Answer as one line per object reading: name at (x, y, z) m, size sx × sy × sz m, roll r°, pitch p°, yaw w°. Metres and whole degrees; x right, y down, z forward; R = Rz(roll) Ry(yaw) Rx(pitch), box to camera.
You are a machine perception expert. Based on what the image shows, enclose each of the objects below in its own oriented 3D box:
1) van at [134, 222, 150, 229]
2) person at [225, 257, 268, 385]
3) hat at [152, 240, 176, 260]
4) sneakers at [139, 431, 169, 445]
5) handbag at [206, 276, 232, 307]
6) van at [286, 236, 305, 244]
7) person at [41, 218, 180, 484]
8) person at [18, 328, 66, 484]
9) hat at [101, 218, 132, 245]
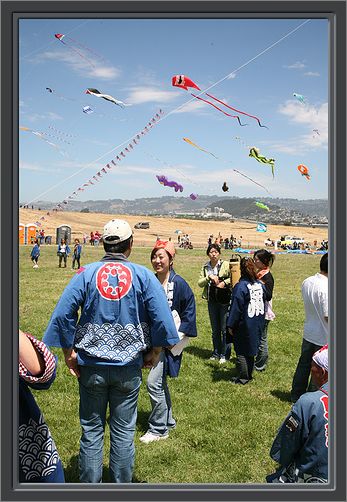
van at (-5.201, -4.161, 70.706) m, size 1.922 × 0.837 × 1.247 m, roll 3°, pitch 1°, yaw 25°
person at (0.986, 1.005, 5.885) m, size 0.518 × 1.812 × 0.555 m, roll -1°, pitch 1°, yaw 11°
hat at (-0.094, -0.025, 4.588) m, size 0.155 × 0.212 × 0.215 m, roll -7°, pitch -25°, yaw 41°
sneakers at (-0.192, 1.913, 4.409) m, size 0.263 × 0.105 × 0.096 m, roll 9°, pitch -15°, yaw -26°
handbag at (0.726, 0.695, 6.835) m, size 0.399 × 0.395 × 0.287 m, roll -1°, pitch 1°, yaw 18°
van at (13.034, -1.216, 46.170) m, size 1.780 × 0.860 × 1.060 m, roll 7°, pitch 6°, yaw 10°
person at (-0.400, 0.784, 2.765) m, size 0.827 × 1.431 × 0.283 m, roll -2°, pitch 1°, yaw -23°
person at (-0.626, 0.744, 2.009) m, size 0.205 × 0.812 × 0.319 m, roll -2°, pitch 1°, yaw -19°
hat at (-0.393, -0.131, 2.987) m, size 0.153 × 0.113 × 0.207 m, roll -2°, pitch 23°, yaw 7°
